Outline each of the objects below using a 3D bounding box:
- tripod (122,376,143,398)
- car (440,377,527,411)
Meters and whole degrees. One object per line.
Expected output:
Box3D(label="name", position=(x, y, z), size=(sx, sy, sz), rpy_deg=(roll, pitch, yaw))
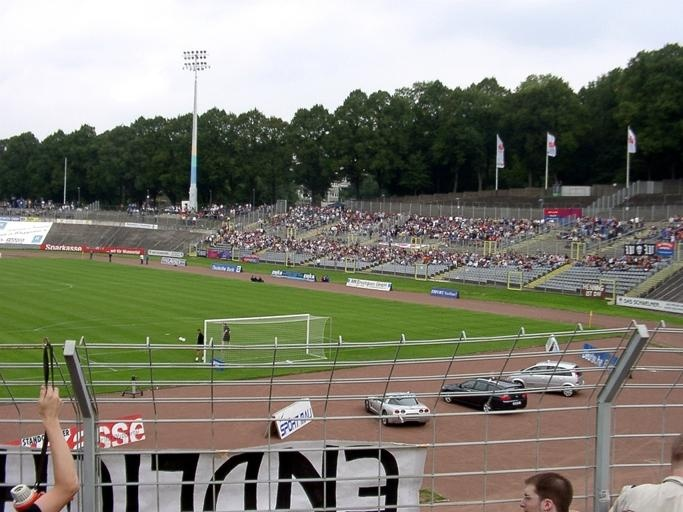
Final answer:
Box3D(label="tripod", position=(-18.104, 11.456, 145.137), size=(1.932, 2.279, 1.739), rpy_deg=(-1, 15, -13))
Box3D(label="car", position=(12.819, 12.078, 143.773), size=(7.746, 2.302, 3.443), rpy_deg=(7, 6, 45))
